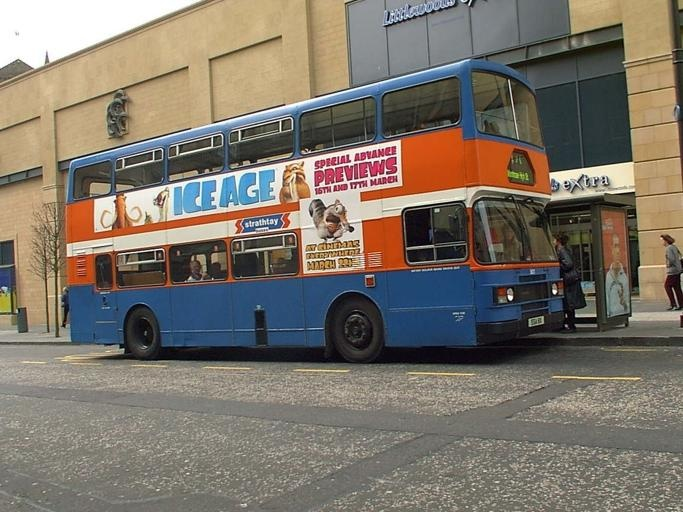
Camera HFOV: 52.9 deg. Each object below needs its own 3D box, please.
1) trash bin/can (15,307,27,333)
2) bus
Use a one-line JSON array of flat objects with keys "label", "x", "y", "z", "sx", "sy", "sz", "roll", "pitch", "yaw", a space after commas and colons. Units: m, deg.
[{"label": "trash bin/can", "x": -14.074, "y": 2.813, "z": 30.212, "sx": 0.371, "sy": 1.181, "sz": 0.592, "roll": -4, "pitch": 1, "yaw": -32}, {"label": "bus", "x": -1.164, "y": -0.435, "z": 16.137, "sx": 11.355, "sy": 5.128, "sz": 3.902, "roll": -5, "pitch": -2, "yaw": 34}]
